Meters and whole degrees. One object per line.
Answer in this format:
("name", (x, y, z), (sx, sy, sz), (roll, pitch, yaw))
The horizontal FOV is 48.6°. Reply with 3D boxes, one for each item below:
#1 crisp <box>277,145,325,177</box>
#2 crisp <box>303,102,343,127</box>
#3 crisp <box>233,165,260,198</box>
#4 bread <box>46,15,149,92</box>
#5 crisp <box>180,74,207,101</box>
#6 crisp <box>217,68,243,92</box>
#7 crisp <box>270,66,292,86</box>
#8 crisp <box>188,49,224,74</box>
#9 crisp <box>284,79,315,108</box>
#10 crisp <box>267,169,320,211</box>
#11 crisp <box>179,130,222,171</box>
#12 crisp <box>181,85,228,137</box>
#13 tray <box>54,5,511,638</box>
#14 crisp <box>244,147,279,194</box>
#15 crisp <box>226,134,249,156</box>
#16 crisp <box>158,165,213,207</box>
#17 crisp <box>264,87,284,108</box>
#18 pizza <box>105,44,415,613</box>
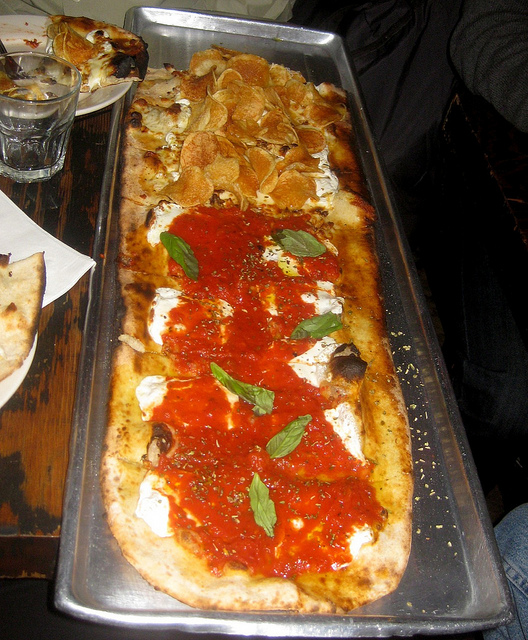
("crisp", (0.120, -0.516, 1.922), (0.149, 0.044, 0.096), (-31, 94, -38))
("crisp", (0.210, -0.748, 2.156), (0.134, 0.030, 0.100), (18, 61, 1))
("crisp", (-0.057, -0.421, 1.836), (0.076, 0.022, 0.103), (-42, 99, -35))
("bread", (-0.580, -0.910, 1.961), (0.246, 0.253, 0.061), (10, 78, -58))
("crisp", (-0.243, -0.795, 2.020), (0.109, 0.028, 0.103), (14, 73, 23))
("crisp", (-0.120, -0.815, 1.987), (0.096, 0.016, 0.084), (-29, 112, -33))
("crisp", (0.053, -0.899, 2.182), (0.085, 0.020, 0.079), (2, 68, -24))
("crisp", (-0.214, -0.948, 2.168), (0.113, 0.031, 0.108), (-10, 77, -14))
("crisp", (0.127, -0.820, 2.148), (0.124, 0.029, 0.072), (40, 94, -10))
("crisp", (0.100, -0.411, 1.868), (0.160, 0.031, 0.104), (-37, 93, -26))
("crisp", (-0.196, -0.511, 1.766), (0.108, 0.035, 0.126), (8, 89, 5))
("crisp", (-0.188, -0.607, 1.853), (0.052, 0.138, 0.176), (17, 71, -15))
("tray", (0.112, -0.046, 2.138), (1.245, 0.251, 2.112), (4, 58, -14))
("crisp", (-0.002, -0.464, 1.822), (0.034, 0.096, 0.148), (0, 51, -58))
("crisp", (-0.082, -0.557, 1.863), (0.071, 0.021, 0.064), (-2, 63, -57))
("crisp", (-0.217, -0.387, 1.724), (0.137, 0.040, 0.133), (-14, 55, -20))
("crisp", (0.030, -0.766, 2.047), (0.074, 0.020, 0.071), (16, 63, -23))
("pizza", (-0.045, -0.086, 1.623), (0.800, 0.144, 1.821), (-2, 65, -2))
